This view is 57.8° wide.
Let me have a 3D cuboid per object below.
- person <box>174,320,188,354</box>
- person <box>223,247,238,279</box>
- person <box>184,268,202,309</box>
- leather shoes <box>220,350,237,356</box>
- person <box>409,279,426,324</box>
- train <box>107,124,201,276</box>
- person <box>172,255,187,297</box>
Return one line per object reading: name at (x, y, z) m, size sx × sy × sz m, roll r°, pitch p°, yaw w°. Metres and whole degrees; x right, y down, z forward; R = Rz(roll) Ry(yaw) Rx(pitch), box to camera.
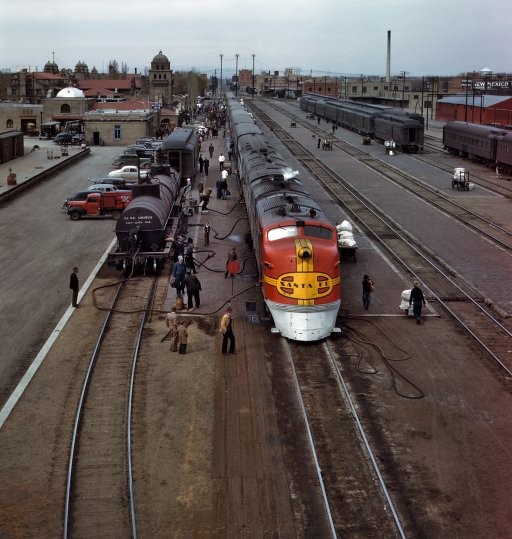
person at (-2.442, 2.170, 15.137) m, size 0.381 × 0.955 × 0.695 m, roll -2°, pitch 12°, yaw -10°
person at (-1.257, -0.302, 22.118) m, size 0.451 × 1.418 × 1.417 m, roll 7°, pitch -17°, yaw -2°
person at (-2.602, 0.814, 18.880) m, size 0.587 × 1.445 × 1.224 m, roll -2°, pitch 12°, yaw -8°
leather shoes at (-0.908, 2.645, 14.951) m, size 0.478 × 0.200 × 0.148 m, roll -4°, pitch 25°, yaw 5°
person at (6.050, 1.135, 17.558) m, size 0.521 × 1.609 × 1.412 m, roll 4°, pitch 12°, yaw 18°
train at (-6.863, -5.332, 31.587) m, size 3.688 × 5.389 × 21.139 m, roll 2°, pitch 24°, yaw 0°
person at (-3.297, 0.283, 19.550) m, size 0.556 × 1.879 × 1.284 m, roll -2°, pitch 12°, yaw -10°
